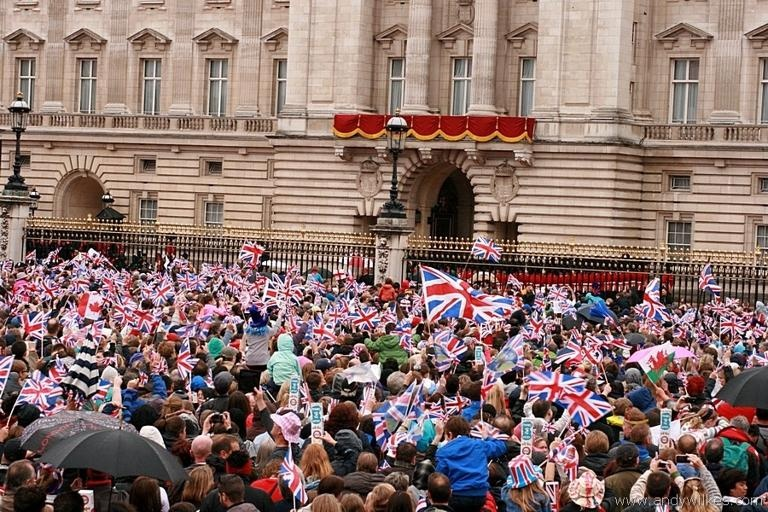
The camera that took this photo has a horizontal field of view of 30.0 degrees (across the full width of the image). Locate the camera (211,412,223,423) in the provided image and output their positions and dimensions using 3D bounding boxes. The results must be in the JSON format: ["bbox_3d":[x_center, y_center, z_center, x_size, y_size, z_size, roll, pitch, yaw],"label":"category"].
[{"bbox_3d":[-3.092,2.961,26.437,0.226,0.151,0.125,1,5,0],"label":"camera"}]

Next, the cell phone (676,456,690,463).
[{"bbox_3d":[5.262,3.559,25.149,0.150,0.085,0.015,-2,5,0],"label":"cell phone"}]

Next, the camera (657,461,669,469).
[{"bbox_3d":[4.813,3.595,24.598,0.132,0.064,0.182,4,3,-4],"label":"camera"}]
